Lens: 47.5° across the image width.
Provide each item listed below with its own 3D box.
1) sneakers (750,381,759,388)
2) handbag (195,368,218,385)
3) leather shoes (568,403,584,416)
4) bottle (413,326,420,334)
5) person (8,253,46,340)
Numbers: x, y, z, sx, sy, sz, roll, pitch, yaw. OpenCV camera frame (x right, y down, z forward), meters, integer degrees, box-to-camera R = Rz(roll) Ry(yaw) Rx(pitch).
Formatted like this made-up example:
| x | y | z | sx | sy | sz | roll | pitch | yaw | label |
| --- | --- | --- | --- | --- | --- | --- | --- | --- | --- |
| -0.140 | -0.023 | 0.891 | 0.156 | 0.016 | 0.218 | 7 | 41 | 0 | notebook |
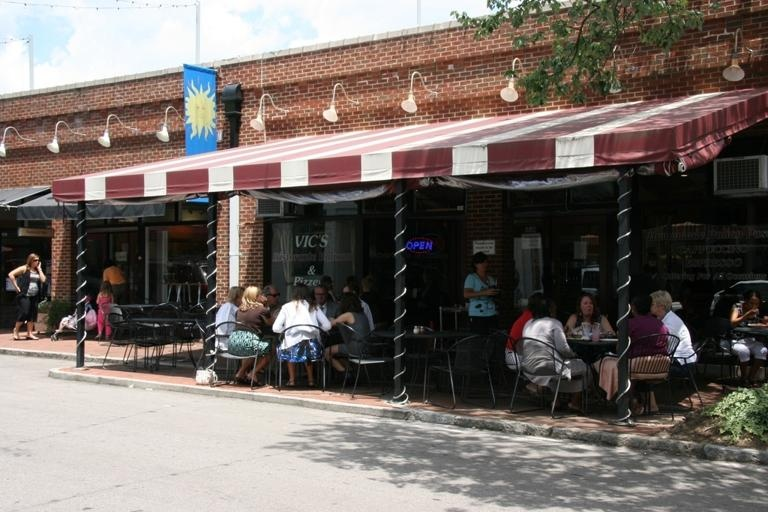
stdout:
| x | y | z | sx | sy | sz | roll | pitch | yaw | label |
| --- | --- | --- | --- | --- | --- | --- | --- | --- | --- |
| 6.914 | 2.435 | 16.520 | 0.147 | 0.157 | 0.147 | -1 | 2 | -40 | sneakers |
| -3.433 | 2.337 | 17.044 | 0.318 | 0.320 | 0.263 | 2 | -6 | 9 | handbag |
| 3.228 | 2.610 | 14.905 | 0.307 | 0.125 | 0.102 | 28 | -7 | 28 | leather shoes |
| 0.579 | 1.372 | 16.221 | 0.104 | 0.103 | 0.106 | -1 | -2 | 17 | bottle |
| -9.286 | 1.057 | 22.948 | 0.793 | 2.273 | 0.987 | 3 | -6 | -21 | person |
